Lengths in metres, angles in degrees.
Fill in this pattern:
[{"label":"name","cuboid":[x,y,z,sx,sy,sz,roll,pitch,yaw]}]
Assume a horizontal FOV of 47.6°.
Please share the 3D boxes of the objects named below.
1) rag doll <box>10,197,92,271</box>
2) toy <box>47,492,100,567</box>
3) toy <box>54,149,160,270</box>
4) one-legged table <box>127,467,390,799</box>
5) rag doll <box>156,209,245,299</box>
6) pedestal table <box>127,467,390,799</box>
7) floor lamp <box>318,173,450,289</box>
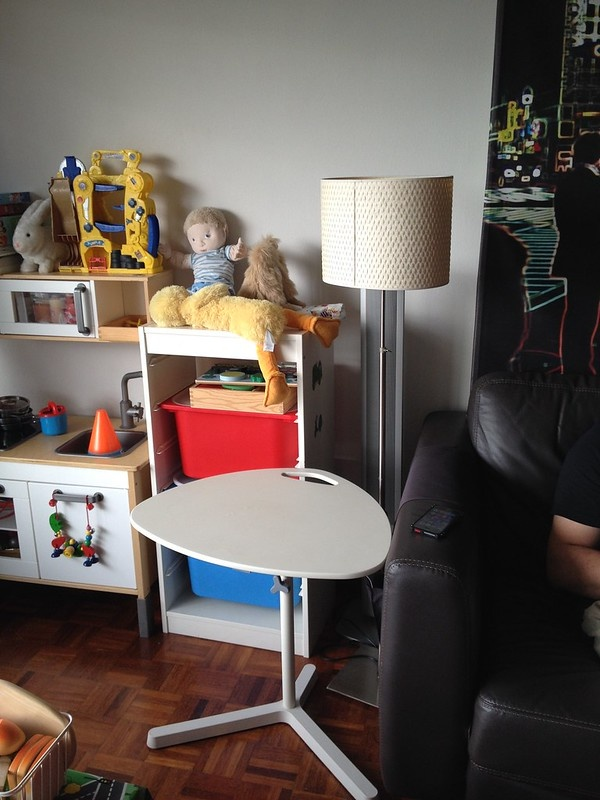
[{"label":"rag doll","cuboid":[-0.838,-0.548,2.273,0.153,0.236,0.270,15,16,31]},{"label":"toy","cuboid":[-0.689,0.400,2.075,0.186,0.250,0.048,2,18,12]},{"label":"toy","cuboid":[-0.612,-0.606,2.167,0.401,0.408,0.103,6,23,14]},{"label":"one-legged table","cuboid":[0.040,0.436,1.704,0.749,0.652,0.684,6,27,10]},{"label":"rag doll","cuboid":[-0.304,-0.443,2.099,0.263,0.293,0.166,0,-13,-7]},{"label":"pedestal table","cuboid":[0.011,0.481,1.723,0.749,0.652,0.684,6,27,10]},{"label":"floor lamp","cuboid":[0.158,-0.391,1.605,0.272,0.210,0.291,-14,21,-37]}]
